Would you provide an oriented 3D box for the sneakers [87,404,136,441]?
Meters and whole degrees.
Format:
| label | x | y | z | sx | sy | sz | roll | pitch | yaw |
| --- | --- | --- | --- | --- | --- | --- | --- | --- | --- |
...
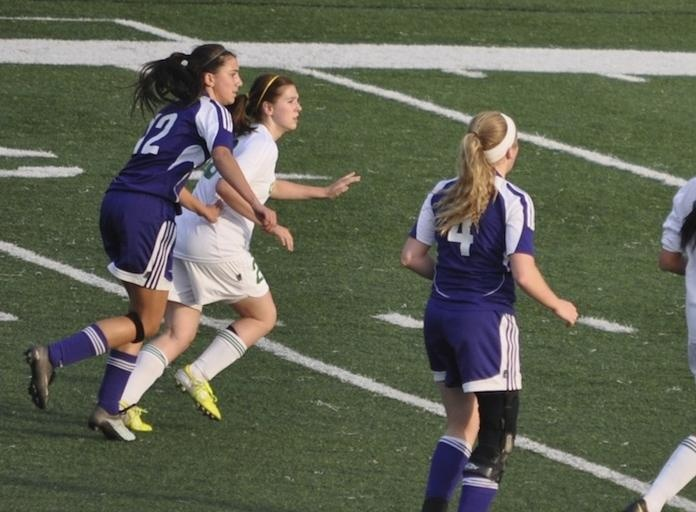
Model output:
| label | x | y | z | sx | sy | sz | roll | pitch | yaw |
| --- | --- | --- | --- | --- | --- | --- | --- | --- | --- |
| sneakers | -1.832 | 1.293 | 10.345 | 0.449 | 0.196 | 0.150 | 36 | -10 | -34 |

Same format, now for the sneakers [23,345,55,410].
| label | x | y | z | sx | sy | sz | roll | pitch | yaw |
| --- | --- | --- | --- | --- | --- | --- | --- | --- | --- |
| sneakers | -2.251 | 0.899 | 9.968 | 0.197 | 0.490 | 0.272 | -9 | 8 | -13 |
